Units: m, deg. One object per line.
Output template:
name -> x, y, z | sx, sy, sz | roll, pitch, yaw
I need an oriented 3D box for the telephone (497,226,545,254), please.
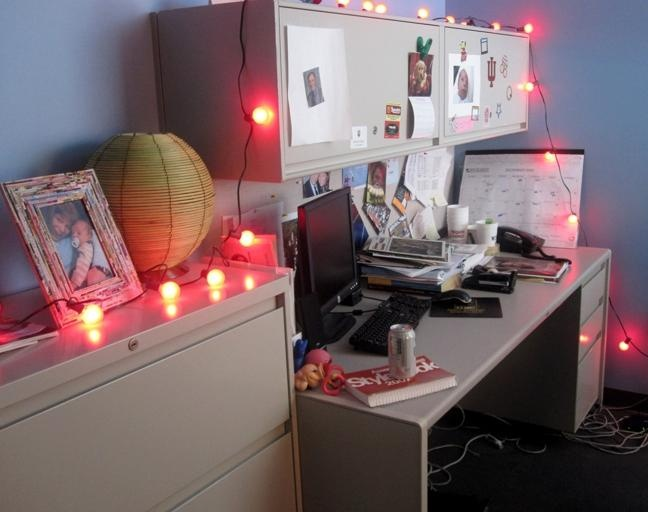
telephone -> 0.951, -0.075, 2.312 | 0.134, 0.073, 0.188 | 7, 12, 29

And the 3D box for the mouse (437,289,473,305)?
mouse -> 0.472, 0.149, 1.695 | 0.094, 0.034, 0.060 | 0, 4, 26

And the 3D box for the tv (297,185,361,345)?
tv -> 0.013, 0.017, 1.667 | 0.138, 0.475, 0.455 | 2, 13, 21

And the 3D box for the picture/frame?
picture/frame -> -0.487, -0.013, 0.926 | 0.023, 0.340, 0.236 | -18, 2, 40

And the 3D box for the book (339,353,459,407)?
book -> 0.191, 0.313, 1.213 | 0.281, 0.036, 0.154 | -9, 23, -19

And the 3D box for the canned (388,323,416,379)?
canned -> 0.201, 0.243, 1.214 | 0.069, 0.129, 0.070 | -14, 17, -39
